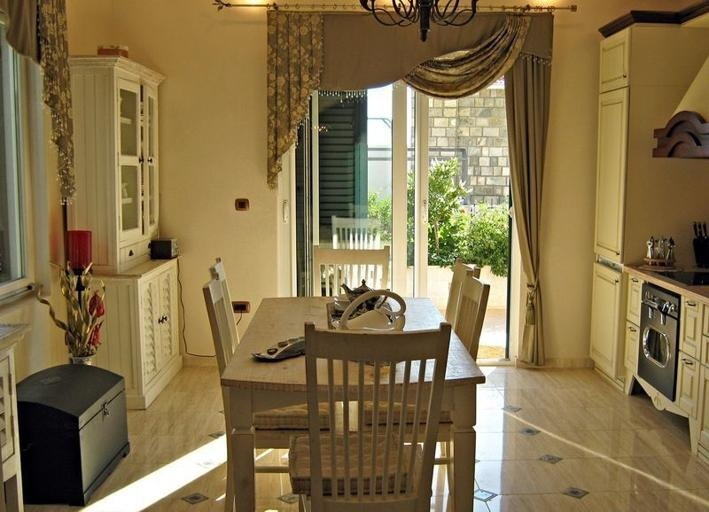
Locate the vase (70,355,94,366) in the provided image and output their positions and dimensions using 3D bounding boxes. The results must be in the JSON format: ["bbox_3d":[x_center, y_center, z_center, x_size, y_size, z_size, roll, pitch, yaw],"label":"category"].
[{"bbox_3d":[-1.787,0.690,3.883,0.100,0.089,0.108,-1,-2,16],"label":"vase"}]

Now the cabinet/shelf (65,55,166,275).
[{"bbox_3d":[-1.782,-0.706,4.505,0.362,1.550,0.863,2,13,9],"label":"cabinet/shelf"}]

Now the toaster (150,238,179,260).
[{"bbox_3d":[-1.585,-0.054,4.844,0.137,0.184,0.253,1,3,-6],"label":"toaster"}]

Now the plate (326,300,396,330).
[{"bbox_3d":[0.066,0.317,2.973,0.253,0.162,0.202,3,1,-8],"label":"plate"}]

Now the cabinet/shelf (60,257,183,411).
[{"bbox_3d":[-1.657,0.555,4.127,0.312,0.804,0.869,-1,18,-1],"label":"cabinet/shelf"}]

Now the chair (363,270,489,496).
[{"bbox_3d":[0.457,0.607,3.662,0.898,1.807,0.928,0,5,2],"label":"chair"}]

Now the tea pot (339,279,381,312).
[{"bbox_3d":[0.039,0.221,3.252,0.183,0.142,0.132,5,-4,-13],"label":"tea pot"}]

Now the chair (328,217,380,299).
[{"bbox_3d":[0.016,-0.119,5.265,0.318,0.610,0.356,1,15,1],"label":"chair"}]

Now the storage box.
[{"bbox_3d":[-1.612,1.001,3.494,0.564,0.620,0.737,-2,7,-2],"label":"storage box"}]

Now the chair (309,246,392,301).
[{"bbox_3d":[0.007,0.089,4.696,0.402,0.605,0.527,1,4,12],"label":"chair"}]

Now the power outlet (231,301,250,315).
[{"bbox_3d":[-0.989,0.456,5.162,0.157,0.123,0.092,1,7,-1],"label":"power outlet"}]
